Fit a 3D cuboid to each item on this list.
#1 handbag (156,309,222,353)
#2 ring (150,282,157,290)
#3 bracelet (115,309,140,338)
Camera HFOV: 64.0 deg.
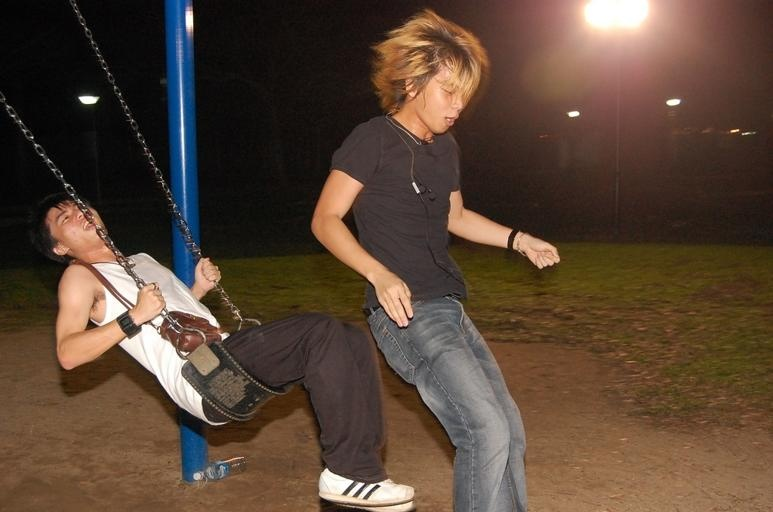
[{"bbox_3d":[-0.962,0.362,3.016,0.245,0.091,0.216,16,20,0],"label":"handbag"},{"bbox_3d":[-1.106,0.144,2.938,0.041,0.023,0.018,42,9,2],"label":"ring"},{"bbox_3d":[-1.211,0.321,2.900,0.107,0.118,0.032,-2,13,-1],"label":"bracelet"}]
